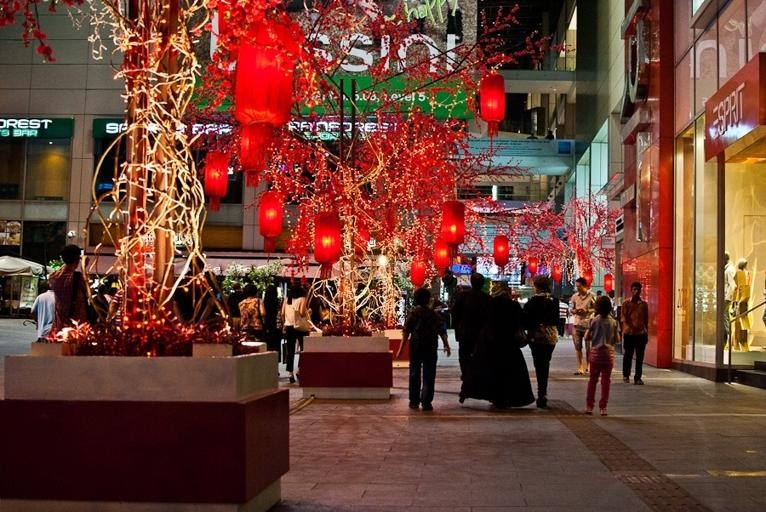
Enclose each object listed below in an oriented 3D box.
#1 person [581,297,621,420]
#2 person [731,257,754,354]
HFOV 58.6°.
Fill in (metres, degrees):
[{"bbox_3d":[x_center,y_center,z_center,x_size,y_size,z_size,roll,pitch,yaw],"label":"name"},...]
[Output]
[{"bbox_3d":[3.616,1.642,11.259,0.485,1.578,1.452,3,2,16],"label":"person"},{"bbox_3d":[7.940,1.047,15.123,0.560,1.952,0.441,-3,5,-32],"label":"person"}]
